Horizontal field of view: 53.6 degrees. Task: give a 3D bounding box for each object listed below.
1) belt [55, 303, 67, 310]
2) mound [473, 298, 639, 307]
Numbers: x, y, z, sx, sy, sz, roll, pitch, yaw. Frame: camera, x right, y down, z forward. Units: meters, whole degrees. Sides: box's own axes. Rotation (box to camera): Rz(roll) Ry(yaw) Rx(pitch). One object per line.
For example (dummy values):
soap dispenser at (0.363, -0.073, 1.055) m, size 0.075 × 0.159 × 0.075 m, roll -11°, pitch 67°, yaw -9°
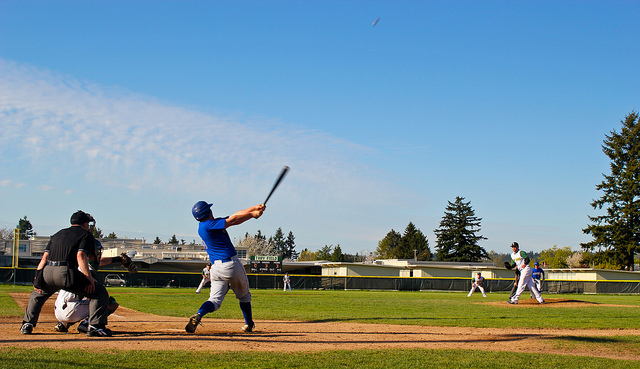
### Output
belt at (-7.363, 3.471, 18.104) m, size 0.268 × 0.145 × 0.204 m, roll 3°, pitch -2°, yaw 17°
mound at (10.859, 5.405, 29.132) m, size 6.075 × 0.393 × 2.967 m, roll 4°, pitch -12°, yaw -18°
